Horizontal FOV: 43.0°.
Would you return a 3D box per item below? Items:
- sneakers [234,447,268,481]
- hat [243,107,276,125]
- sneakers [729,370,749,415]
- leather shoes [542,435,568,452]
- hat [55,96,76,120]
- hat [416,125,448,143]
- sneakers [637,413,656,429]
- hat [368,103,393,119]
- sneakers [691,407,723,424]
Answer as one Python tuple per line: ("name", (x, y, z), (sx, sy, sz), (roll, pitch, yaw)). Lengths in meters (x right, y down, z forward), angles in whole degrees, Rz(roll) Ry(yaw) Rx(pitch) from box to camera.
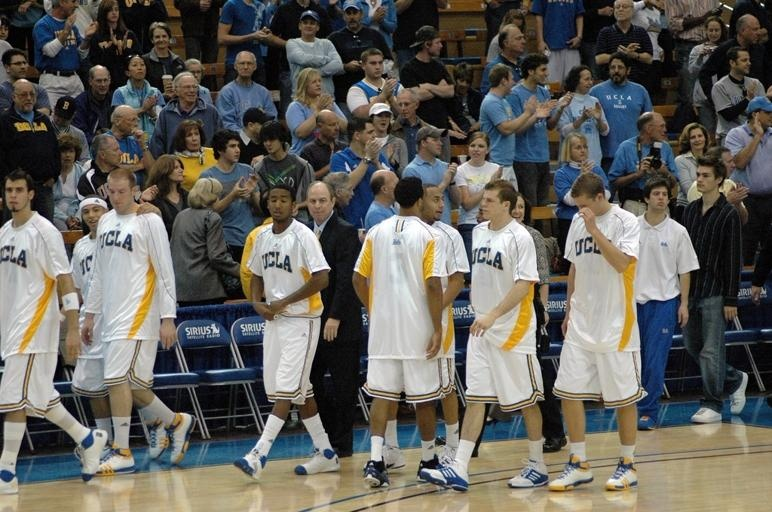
("sneakers", (-1.308, 2.032, 9.545), (0.167, 0.221, 0.411), (34, -5, 16))
("hat", (-1.752, -1.901, 13.226), (0.350, 0.189, 0.235), (-2, 14, -2))
("sneakers", (4.460, 1.750, 12.349), (0.222, 0.620, 0.194), (3, -5, -6))
("leather shoes", (1.866, 2.074, 10.777), (0.119, 0.150, 0.308), (0, -1, 43))
("hat", (-4.441, -2.092, 13.492), (0.223, 0.348, 0.183), (16, -51, -24))
("hat", (0.571, -1.567, 12.399), (0.369, 0.198, 0.251), (-13, 2, 17))
("sneakers", (3.096, 1.974, 11.565), (0.221, 0.153, 0.188), (-1, 3, 4))
("hat", (-0.089, -1.885, 12.657), (0.336, 0.200, 0.511), (0, 0, -11))
("sneakers", (3.888, 1.931, 11.835), (0.337, 0.150, 0.169), (3, -4, -20))
